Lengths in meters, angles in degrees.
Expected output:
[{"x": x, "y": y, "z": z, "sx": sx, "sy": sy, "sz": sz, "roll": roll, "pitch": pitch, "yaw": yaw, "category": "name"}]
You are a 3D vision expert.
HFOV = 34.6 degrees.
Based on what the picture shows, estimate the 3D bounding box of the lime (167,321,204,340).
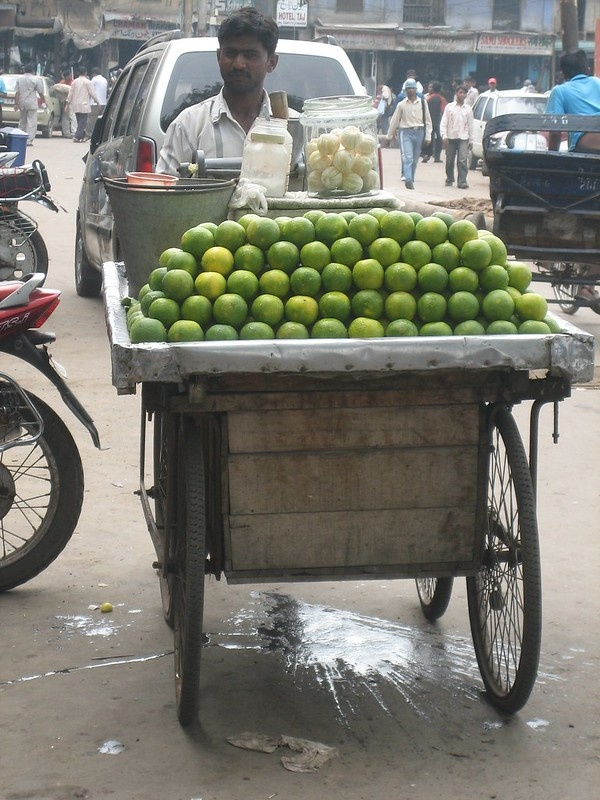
[{"x": -0.260, "y": -0.155, "z": 2.151, "sx": 0.053, "sy": 0.055, "sz": 0.055, "roll": 0, "pitch": 0, "yaw": 7, "category": "lime"}]

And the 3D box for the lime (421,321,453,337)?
[{"x": 0.317, "y": -0.166, "z": 2.238, "sx": 0.053, "sy": 0.054, "sz": 0.052, "roll": 3, "pitch": -4, "yaw": -34, "category": "lime"}]

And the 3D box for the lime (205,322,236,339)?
[{"x": -0.178, "y": -0.152, "z": 2.170, "sx": 0.043, "sy": 0.045, "sz": 0.042, "roll": -1, "pitch": -4, "yaw": -10, "category": "lime"}]

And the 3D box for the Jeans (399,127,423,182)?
[{"x": 2.049, "y": -4.478, "z": 17.629, "sx": 0.399, "sy": 1.074, "sz": 0.405, "roll": -11, "pitch": 22, "yaw": -39, "category": "Jeans"}]

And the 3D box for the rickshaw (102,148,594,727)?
[{"x": 0.041, "y": -0.067, "z": 2.731, "sx": 1.029, "sy": 0.944, "sz": 1.480, "roll": -1, "pitch": 16, "yaw": -9, "category": "rickshaw"}]

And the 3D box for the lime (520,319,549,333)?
[{"x": 0.558, "y": -0.172, "z": 2.268, "sx": 0.041, "sy": 0.044, "sz": 0.043, "roll": 0, "pitch": -17, "yaw": -2, "category": "lime"}]

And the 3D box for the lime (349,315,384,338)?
[{"x": 0.152, "y": -0.168, "z": 2.226, "sx": 0.060, "sy": 0.065, "sz": 0.060, "roll": 1, "pitch": 5, "yaw": 4, "category": "lime"}]

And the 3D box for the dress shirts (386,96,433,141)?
[{"x": 2.013, "y": -5.204, "z": 17.492, "sx": 0.727, "sy": 0.617, "sz": 1.406, "roll": 3, "pitch": 10, "yaw": 5, "category": "dress shirts"}]

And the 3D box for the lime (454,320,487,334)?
[{"x": 0.391, "y": -0.168, "z": 2.241, "sx": 0.045, "sy": 0.049, "sz": 0.053, "roll": -8, "pitch": 9, "yaw": -39, "category": "lime"}]

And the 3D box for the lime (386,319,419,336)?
[{"x": 0.237, "y": -0.160, "z": 2.236, "sx": 0.052, "sy": 0.055, "sz": 0.051, "roll": -1, "pitch": -4, "yaw": -8, "category": "lime"}]

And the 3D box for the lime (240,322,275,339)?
[{"x": -0.099, "y": -0.157, "z": 2.181, "sx": 0.056, "sy": 0.051, "sz": 0.049, "roll": -1, "pitch": -5, "yaw": -8, "category": "lime"}]

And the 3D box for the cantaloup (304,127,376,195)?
[{"x": 0.129, "y": -0.743, "z": 3.003, "sx": 0.218, "sy": 0.202, "sz": 0.214, "roll": -1, "pitch": 0, "yaw": -15, "category": "cantaloup"}]

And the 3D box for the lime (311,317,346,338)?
[{"x": 0.067, "y": -0.165, "z": 2.215, "sx": 0.051, "sy": 0.032, "sz": 0.057, "roll": 3, "pitch": 24, "yaw": -6, "category": "lime"}]

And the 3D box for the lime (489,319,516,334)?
[{"x": 0.475, "y": -0.164, "z": 2.237, "sx": 0.044, "sy": 0.046, "sz": 0.042, "roll": 0, "pitch": -2, "yaw": -4, "category": "lime"}]

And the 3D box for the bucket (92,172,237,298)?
[{"x": -0.409, "y": -0.499, "z": 2.774, "sx": 0.262, "sy": 0.261, "sz": 0.287, "roll": 0, "pitch": 22, "yaw": 0, "category": "bucket"}]

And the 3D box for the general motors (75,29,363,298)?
[{"x": -0.870, "y": -1.805, "z": 7.087, "sx": 1.523, "sy": 1.524, "sz": 2.792, "roll": 0, "pitch": 20, "yaw": -9, "category": "general motors"}]

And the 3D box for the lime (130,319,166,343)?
[{"x": -0.337, "y": -0.151, "z": 2.152, "sx": 0.057, "sy": 0.073, "sz": 0.063, "roll": 4, "pitch": 0, "yaw": 10, "category": "lime"}]

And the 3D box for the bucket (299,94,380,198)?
[{"x": 0.116, "y": -0.820, "z": 3.127, "sx": 0.318, "sy": 0.366, "sz": 0.332, "roll": -2, "pitch": 5, "yaw": 0, "category": "bucket"}]

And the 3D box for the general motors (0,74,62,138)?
[{"x": -7.351, "y": -7.863, "z": 25.779, "sx": 1.444, "sy": 1.520, "sz": 3.242, "roll": 1, "pitch": 22, "yaw": 0, "category": "general motors"}]
